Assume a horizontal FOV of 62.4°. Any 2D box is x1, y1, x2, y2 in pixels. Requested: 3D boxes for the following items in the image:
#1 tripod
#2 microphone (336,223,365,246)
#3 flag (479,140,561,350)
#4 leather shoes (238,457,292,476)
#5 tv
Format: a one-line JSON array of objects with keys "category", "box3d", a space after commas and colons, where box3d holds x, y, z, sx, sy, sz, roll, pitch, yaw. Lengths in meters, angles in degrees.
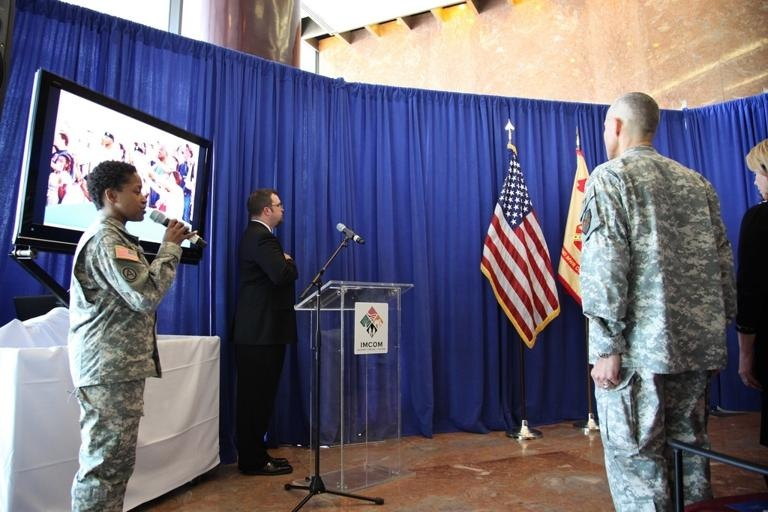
[{"category": "tripod", "box3d": [-0.389, 0.904, 4.509, 0.634, 1.641, 0.564, -3, 7, -18]}, {"category": "microphone", "box3d": [-0.301, -0.189, 5.453, 0.097, 0.117, 0.359, 13, 14, -31]}, {"category": "flag", "box3d": [1.330, -0.120, 6.080, 0.664, 1.868, 0.534, 3, 7, 28]}, {"category": "leather shoes", "box3d": [-0.886, 1.647, 4.953, 0.248, 0.084, 0.174, -3, -11, -1]}, {"category": "tv", "box3d": [-2.013, -0.591, 4.854, 0.155, 1.135, 1.515, 3, -5, 32]}]
